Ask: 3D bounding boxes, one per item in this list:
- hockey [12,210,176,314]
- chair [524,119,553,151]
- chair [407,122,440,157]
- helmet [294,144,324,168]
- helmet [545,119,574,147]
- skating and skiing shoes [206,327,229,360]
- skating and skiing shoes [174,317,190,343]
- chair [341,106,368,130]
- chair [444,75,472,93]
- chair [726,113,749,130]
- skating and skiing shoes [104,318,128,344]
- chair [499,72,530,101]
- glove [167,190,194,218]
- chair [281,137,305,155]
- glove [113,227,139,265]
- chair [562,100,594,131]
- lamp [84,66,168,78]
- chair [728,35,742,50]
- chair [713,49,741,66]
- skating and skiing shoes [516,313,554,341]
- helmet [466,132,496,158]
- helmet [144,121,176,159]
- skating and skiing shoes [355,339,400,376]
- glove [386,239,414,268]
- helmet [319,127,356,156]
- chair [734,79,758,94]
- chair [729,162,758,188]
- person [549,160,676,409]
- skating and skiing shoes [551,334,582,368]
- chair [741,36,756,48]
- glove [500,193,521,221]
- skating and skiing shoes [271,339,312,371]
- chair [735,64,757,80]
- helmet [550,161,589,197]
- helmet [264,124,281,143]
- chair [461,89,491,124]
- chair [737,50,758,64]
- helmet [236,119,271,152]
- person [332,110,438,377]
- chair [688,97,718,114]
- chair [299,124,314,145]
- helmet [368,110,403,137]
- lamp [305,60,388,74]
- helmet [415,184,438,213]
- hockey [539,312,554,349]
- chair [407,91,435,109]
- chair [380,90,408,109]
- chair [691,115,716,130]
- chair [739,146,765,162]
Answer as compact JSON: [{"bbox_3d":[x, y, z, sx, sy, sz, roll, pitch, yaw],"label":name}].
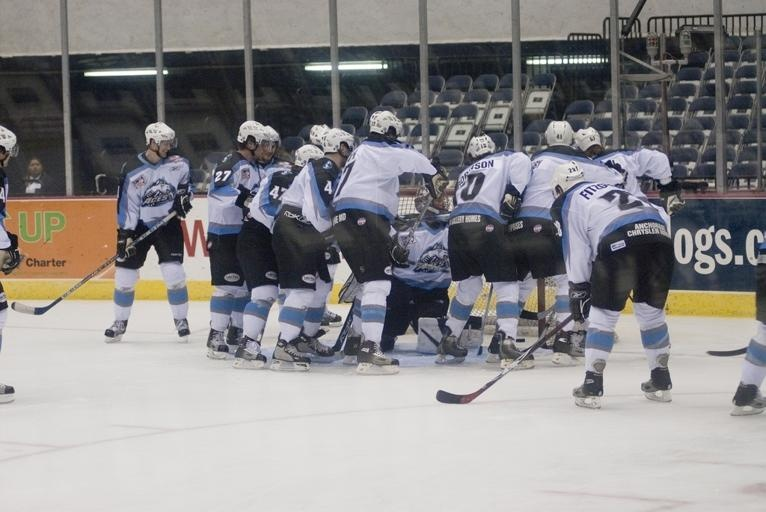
[{"bbox_3d":[-3.372,0.072,14.356,2.261,0.367,0.176,-32,16,-20],"label":"hockey"},{"bbox_3d":[1.875,-1.476,14.708,0.355,0.542,0.416,-1,8,1],"label":"chair"},{"bbox_3d":[0.503,-1.398,14.449,0.420,0.545,0.453,0,9,10],"label":"chair"},{"bbox_3d":[-0.734,-1.005,11.782,0.271,0.208,0.191,-23,22,4],"label":"helmet"},{"bbox_3d":[1.696,-1.185,11.673,0.232,0.276,0.297,3,9,14],"label":"helmet"},{"bbox_3d":[-1.613,0.836,11.851,0.219,0.288,0.310,0,7,-7],"label":"skating and skiing shoes"},{"bbox_3d":[-2.102,0.756,12.688,0.110,0.287,0.125,-7,-23,-22],"label":"skating and skiing shoes"},{"bbox_3d":[-0.321,-1.728,14.870,0.265,0.276,0.333,0,-29,4],"label":"chair"},{"bbox_3d":[0.998,-2.213,15.468,0.214,0.247,0.226,0,2,18],"label":"chair"},{"bbox_3d":[4.340,-1.639,14.660,0.262,0.181,0.478,3,7,16],"label":"chair"},{"bbox_3d":[-2.805,0.766,12.651,0.201,0.210,0.383,2,7,12],"label":"skating and skiing shoes"},{"bbox_3d":[1.572,-2.095,14.650,0.278,0.407,0.314,-2,-36,8],"label":"chair"},{"bbox_3d":[-2.109,-0.558,12.711,0.215,0.215,0.254,12,3,-28],"label":"glove"},{"bbox_3d":[-1.150,-1.441,15.495,0.247,0.301,0.261,2,11,16],"label":"chair"},{"bbox_3d":[-2.692,-0.103,12.649,0.099,0.282,0.291,13,-8,-32],"label":"glove"},{"bbox_3d":[2.470,-1.794,15.044,0.349,0.381,0.481,8,-1,32],"label":"chair"},{"bbox_3d":[-3.357,-2.388,15.676,1.203,0.129,0.286,5,8,31],"label":"lamp"},{"bbox_3d":[4.349,-2.650,14.902,0.166,0.166,0.201,3,0,11],"label":"chair"},{"bbox_3d":[4.336,-2.449,14.893,0.147,0.220,0.537,4,7,21],"label":"chair"},{"bbox_3d":[1.514,0.707,12.391,0.258,0.116,0.335,3,12,36],"label":"skating and skiing shoes"},{"bbox_3d":[0.953,-1.087,11.627,0.245,0.285,0.287,2,-15,-1],"label":"helmet"},{"bbox_3d":[-2.364,-1.223,12.659,0.324,0.315,0.242,7,9,0],"label":"helmet"},{"bbox_3d":[-0.038,0.912,11.003,0.436,0.277,0.241,3,3,-18],"label":"skating and skiing shoes"},{"bbox_3d":[0.151,-0.028,11.460,0.200,0.247,0.253,3,22,-4],"label":"glove"},{"bbox_3d":[-0.435,-1.106,11.520,0.279,0.252,0.214,-27,24,-11],"label":"helmet"},{"bbox_3d":[4.560,-2.120,15.111,0.270,0.246,0.230,-2,14,25],"label":"chair"},{"bbox_3d":[4.041,-0.903,13.459,0.267,0.342,0.309,0,-2,28],"label":"chair"},{"bbox_3d":[1.903,0.233,9.964,1.048,1.973,0.591,2,8,12],"label":"person"},{"bbox_3d":[1.715,0.879,11.322,0.148,0.199,0.477,1,3,28],"label":"skating and skiing shoes"},{"bbox_3d":[4.522,-2.634,14.854,0.130,0.163,0.218,1,7,2],"label":"chair"},{"bbox_3d":[1.237,-0.476,11.636,0.122,0.233,0.257,-2,-4,-2],"label":"glove"},{"bbox_3d":[-0.843,0.913,11.190,0.406,0.265,0.143,4,2,29],"label":"skating and skiing shoes"},{"bbox_3d":[4.519,-2.296,15.010,0.248,0.242,0.342,-4,12,13],"label":"chair"},{"bbox_3d":[1.598,-0.668,10.050,0.191,0.221,0.243,37,15,2],"label":"helmet"},{"bbox_3d":[-1.097,-1.212,11.878,0.149,0.183,0.195,2,4,23],"label":"helmet"},{"bbox_3d":[1.213,-1.906,15.414,0.321,0.406,0.551,4,-14,24],"label":"chair"},{"bbox_3d":[4.511,-2.452,14.850,0.257,0.172,0.224,-1,1,1],"label":"chair"},{"bbox_3d":[-1.277,-1.220,11.871,0.286,0.251,0.231,-15,39,-6],"label":"helmet"},{"bbox_3d":[-0.035,-0.143,11.070,0.786,2.352,0.643,-1,8,-12],"label":"person"},{"bbox_3d":[4.315,-2.021,16.093,0.191,0.227,0.404,-2,8,-24],"label":"chair"},{"bbox_3d":[-0.956,-1.549,15.285,0.171,0.176,0.207,5,29,1],"label":"chair"},{"bbox_3d":[0.076,-1.235,11.237,0.300,0.263,0.225,-8,21,-38],"label":"helmet"},{"bbox_3d":[-0.482,-2.318,14.667,1.066,0.143,0.192,-2,-14,-18],"label":"lamp"},{"bbox_3d":[0.399,-0.567,11.680,0.120,0.205,0.260,7,41,-27],"label":"helmet"},{"bbox_3d":[1.575,0.710,11.572,0.115,0.351,0.084,9,3,-12],"label":"hockey"},{"bbox_3d":[0.468,-1.882,14.475,0.334,0.156,0.417,0,0,1],"label":"chair"},{"bbox_3d":[0.164,-1.976,15.144,0.266,0.328,0.314,1,6,23],"label":"chair"},{"bbox_3d":[4.288,-1.774,15.959,0.237,0.178,0.399,0,7,-10],"label":"chair"},{"bbox_3d":[4.269,-1.191,14.023,0.225,0.107,0.307,-1,3,10],"label":"chair"}]
